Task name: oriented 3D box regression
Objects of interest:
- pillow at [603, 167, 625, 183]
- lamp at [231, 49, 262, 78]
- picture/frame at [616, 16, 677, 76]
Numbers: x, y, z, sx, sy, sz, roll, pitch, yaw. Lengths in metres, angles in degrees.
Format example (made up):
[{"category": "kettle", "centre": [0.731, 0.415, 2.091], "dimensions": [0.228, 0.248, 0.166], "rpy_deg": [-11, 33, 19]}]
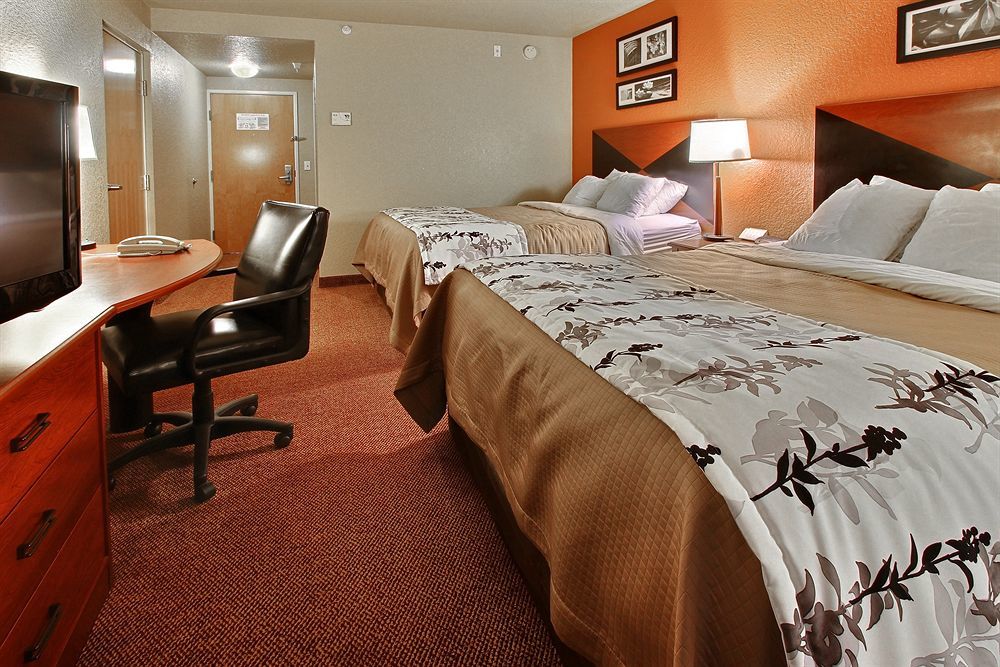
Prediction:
[{"category": "pillow", "centre": [0.953, -1.358, 5.292], "dimensions": [0.168, 0.041, 0.179], "rpy_deg": [-36, 16, 42]}, {"category": "lamp", "centre": [-2.670, -2.879, 6.515], "dimensions": [0.257, 0.158, 0.259], "rpy_deg": [-1, -5, -12]}, {"category": "picture/frame", "centre": [1.217, -2.419, 5.178], "dimensions": [0.027, 0.366, 0.693], "rpy_deg": [-7, 12, -26]}]
